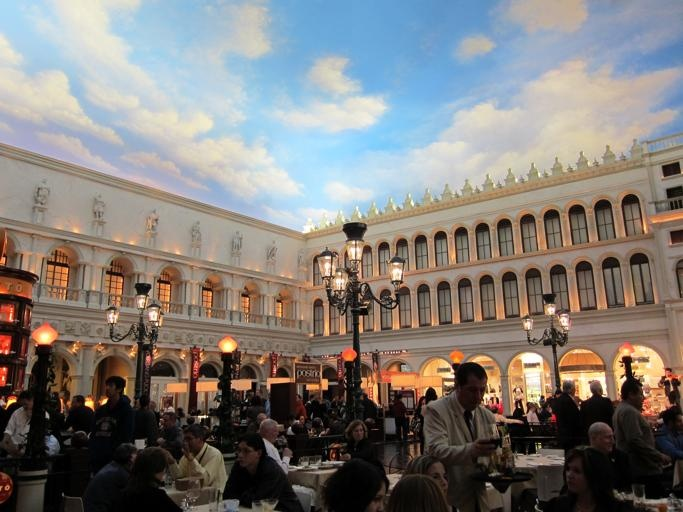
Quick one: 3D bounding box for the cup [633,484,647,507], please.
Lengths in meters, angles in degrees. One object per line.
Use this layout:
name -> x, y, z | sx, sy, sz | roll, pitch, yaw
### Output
cup -> 2.674, 2.141, 4.515 | 0.092, 0.156, 0.161 | -9, -20, 27

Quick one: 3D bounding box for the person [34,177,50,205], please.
person -> -14.524, -2.971, 24.276 | 0.678, 1.460, 0.353 | 15, -23, -38

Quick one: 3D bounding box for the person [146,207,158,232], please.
person -> -10.713, -1.931, 28.514 | 0.264, 1.452, 0.730 | -17, -24, 42

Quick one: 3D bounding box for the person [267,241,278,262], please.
person -> -4.765, -0.282, 34.578 | 0.353, 1.545, 0.899 | -13, -22, 35

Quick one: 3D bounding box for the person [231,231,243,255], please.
person -> -6.756, -0.811, 32.430 | 0.712, 1.658, 0.318 | 15, -23, -37

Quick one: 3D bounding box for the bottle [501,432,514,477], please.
bottle -> 1.404, 1.664, 4.228 | 0.070, 0.309, 0.235 | -10, -20, 28
